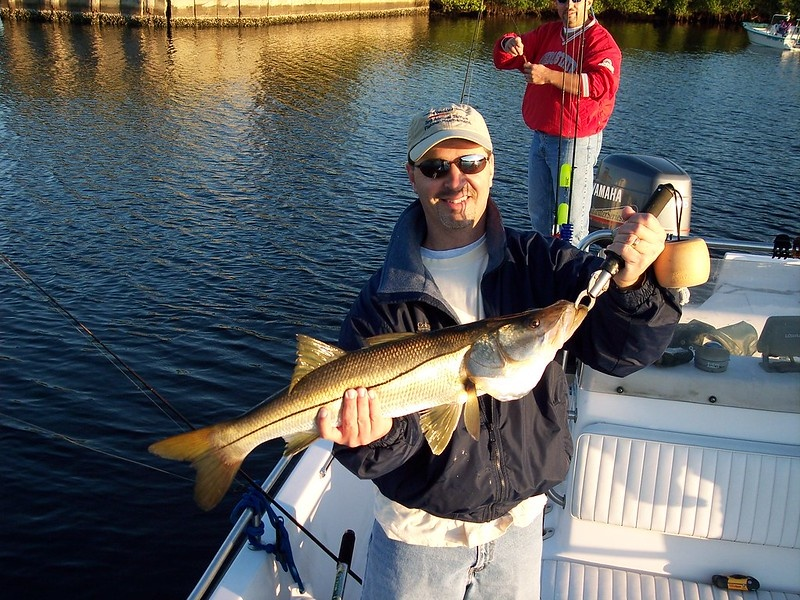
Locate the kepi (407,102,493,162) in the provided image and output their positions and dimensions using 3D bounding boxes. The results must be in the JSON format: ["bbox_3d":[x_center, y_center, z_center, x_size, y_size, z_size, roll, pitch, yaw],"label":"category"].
[{"bbox_3d":[0.315,-1.098,4.395,0.565,0.295,0.573,-2,19,13],"label":"kepi"}]

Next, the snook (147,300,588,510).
[{"bbox_3d":[-0.115,0.579,3.921,2.240,1.361,0.454,3,25,1],"label":"snook"}]
